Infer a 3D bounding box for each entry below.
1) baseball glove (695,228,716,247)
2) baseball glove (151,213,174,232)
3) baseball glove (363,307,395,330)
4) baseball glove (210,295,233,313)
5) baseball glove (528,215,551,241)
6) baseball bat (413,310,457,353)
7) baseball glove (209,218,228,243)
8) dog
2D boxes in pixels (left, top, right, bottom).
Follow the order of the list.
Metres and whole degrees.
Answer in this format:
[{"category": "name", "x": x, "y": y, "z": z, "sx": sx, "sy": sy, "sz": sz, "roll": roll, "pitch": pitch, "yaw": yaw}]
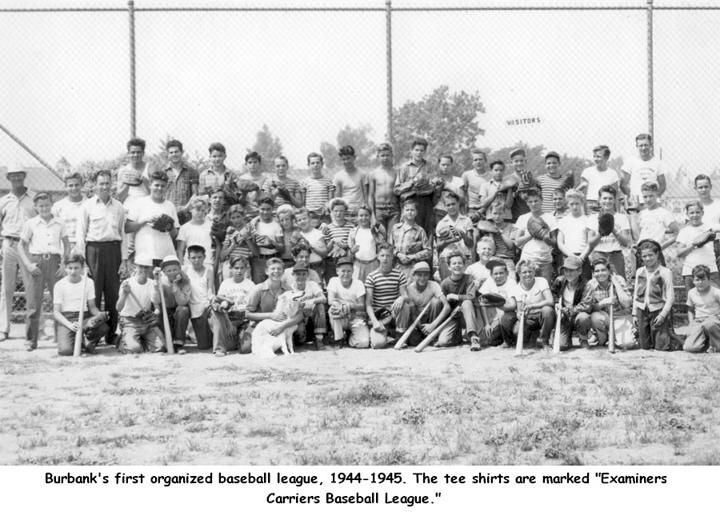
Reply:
[{"category": "baseball glove", "x": 5.189, "y": -0.273, "z": 11.344, "sx": 0.262, "sy": 0.087, "sz": 0.114, "roll": -52, "pitch": -22, "yaw": 18}, {"category": "baseball glove", "x": -2.968, "y": -0.492, "z": 11.374, "sx": 0.328, "sy": 0.270, "sz": 0.148, "roll": -5, "pitch": 10, "yaw": -25}, {"category": "baseball glove", "x": 0.307, "y": 0.947, "z": 11.354, "sx": 0.309, "sy": 0.334, "sz": 0.138, "roll": 2, "pitch": -31, "yaw": 3}, {"category": "baseball glove", "x": -2.022, "y": 0.722, "z": 10.962, "sx": 0.321, "sy": 0.215, "sz": 0.438, "roll": 1, "pitch": 10, "yaw": 5}, {"category": "baseball glove", "x": 2.735, "y": -0.421, "z": 11.526, "sx": 0.272, "sy": 0.388, "sz": 0.176, "roll": -30, "pitch": -24, "yaw": -1}, {"category": "baseball bat", "x": 1.130, "y": 1.133, "z": 11.128, "sx": 0.076, "sy": 0.731, "sz": 0.118, "roll": 32, "pitch": -19, "yaw": 47}, {"category": "baseball glove", "x": -2.181, "y": -0.379, "z": 11.746, "sx": 0.227, "sy": 0.318, "sz": 0.126, "roll": 7, "pitch": 4, "yaw": -1}, {"category": "dog", "x": -1.133, "y": 1.013, "z": 10.802, "sx": 0.848, "sy": 0.826, "sz": 0.671, "roll": -5, "pitch": 10, "yaw": -27}]
